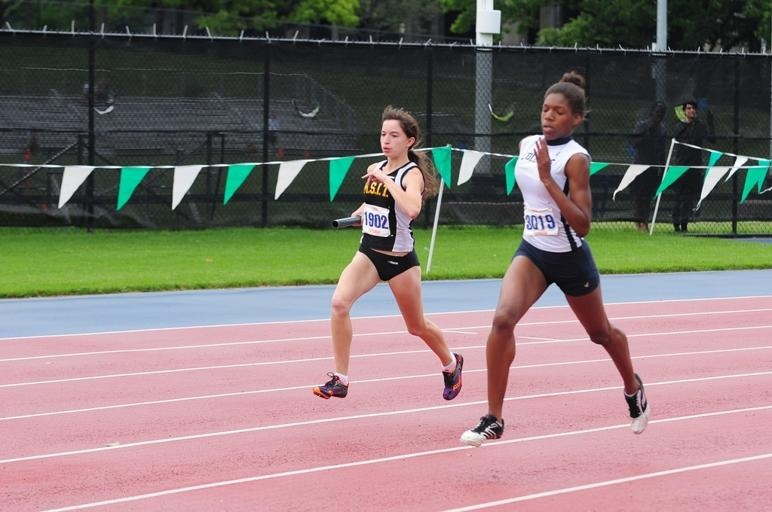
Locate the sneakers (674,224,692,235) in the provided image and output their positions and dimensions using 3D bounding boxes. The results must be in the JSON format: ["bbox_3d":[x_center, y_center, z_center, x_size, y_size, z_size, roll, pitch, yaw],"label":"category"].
[{"bbox_3d":[6.155,-0.567,19.260,0.247,0.249,0.250,-4,7,-18],"label":"sneakers"}]

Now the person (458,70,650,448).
[{"bbox_3d":[1.372,0.038,7.347,1.291,2.966,1.160,4,11,19],"label":"person"}]

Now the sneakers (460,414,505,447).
[{"bbox_3d":[0.757,1.379,7.205,0.444,0.196,0.162,-12,29,-30],"label":"sneakers"}]

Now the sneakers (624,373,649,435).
[{"bbox_3d":[1.995,1.235,7.596,0.191,0.524,0.241,-9,-5,38],"label":"sneakers"}]

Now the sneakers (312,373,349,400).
[{"bbox_3d":[-0.458,1.141,8.100,0.400,0.203,0.149,9,-2,-22],"label":"sneakers"}]

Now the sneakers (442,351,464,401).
[{"bbox_3d":[0.595,1.068,8.386,0.164,0.446,0.213,5,2,27],"label":"sneakers"}]
